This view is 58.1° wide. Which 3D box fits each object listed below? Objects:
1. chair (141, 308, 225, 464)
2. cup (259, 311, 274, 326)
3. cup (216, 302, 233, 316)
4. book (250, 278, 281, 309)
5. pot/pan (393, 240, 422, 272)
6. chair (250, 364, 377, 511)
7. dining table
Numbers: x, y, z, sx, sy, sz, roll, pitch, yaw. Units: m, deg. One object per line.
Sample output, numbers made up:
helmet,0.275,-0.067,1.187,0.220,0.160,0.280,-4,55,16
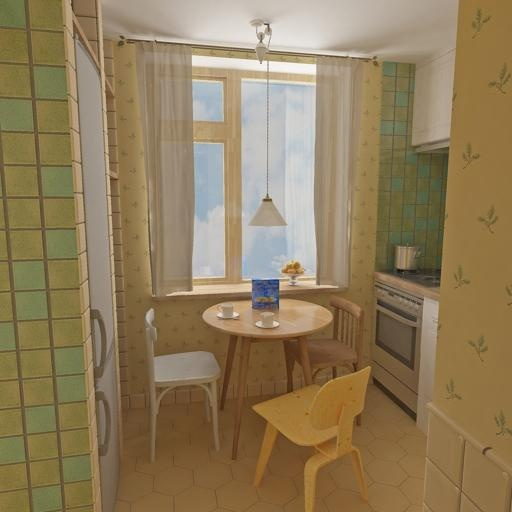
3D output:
chair,-0.416,0.722,2.709,0.482,0.806,0.540,7,16,21
cup,0.063,0.355,2.611,0.070,0.079,0.094,1,9,6
cup,-0.190,0.326,2.800,0.075,0.068,0.054,1,7,17
book,0.060,0.246,2.982,0.146,0.184,0.053,0,1,-7
pot/pan,1.077,0.014,3.290,0.173,0.224,0.145,0,2,-4
chair,0.284,0.810,2.139,0.453,0.778,0.529,-6,10,-32
dining table,0.072,0.570,2.890,0.723,0.918,0.775,-4,12,-15
